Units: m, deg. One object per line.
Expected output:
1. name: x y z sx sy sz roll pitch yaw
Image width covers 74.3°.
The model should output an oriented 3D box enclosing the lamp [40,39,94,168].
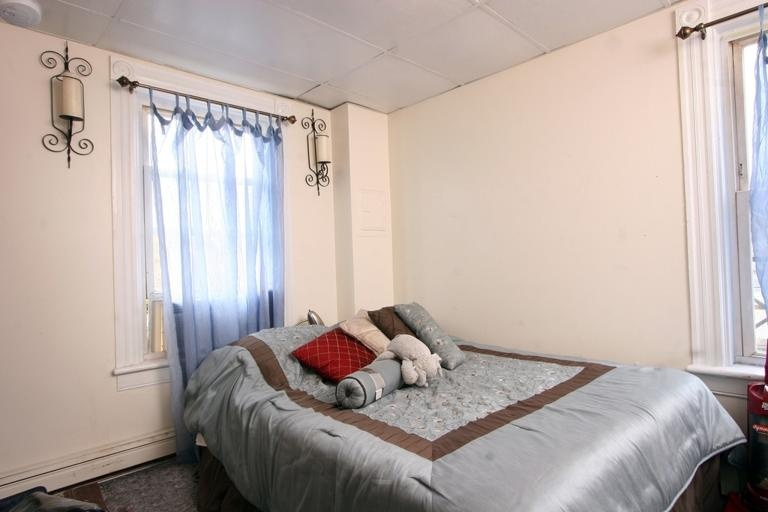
1. lamp: -2.351 -1.140 3.780 0.170 0.919 0.358 -7 -4 36

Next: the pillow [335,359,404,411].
1. pillow: -0.079 0.859 3.495 0.258 0.226 0.579 26 17 27

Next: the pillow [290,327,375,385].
1. pillow: -0.303 0.822 3.904 0.601 0.159 0.581 -29 -7 32

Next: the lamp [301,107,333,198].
1. lamp: -0.635 -1.023 4.965 0.189 0.838 0.348 0 6 37
